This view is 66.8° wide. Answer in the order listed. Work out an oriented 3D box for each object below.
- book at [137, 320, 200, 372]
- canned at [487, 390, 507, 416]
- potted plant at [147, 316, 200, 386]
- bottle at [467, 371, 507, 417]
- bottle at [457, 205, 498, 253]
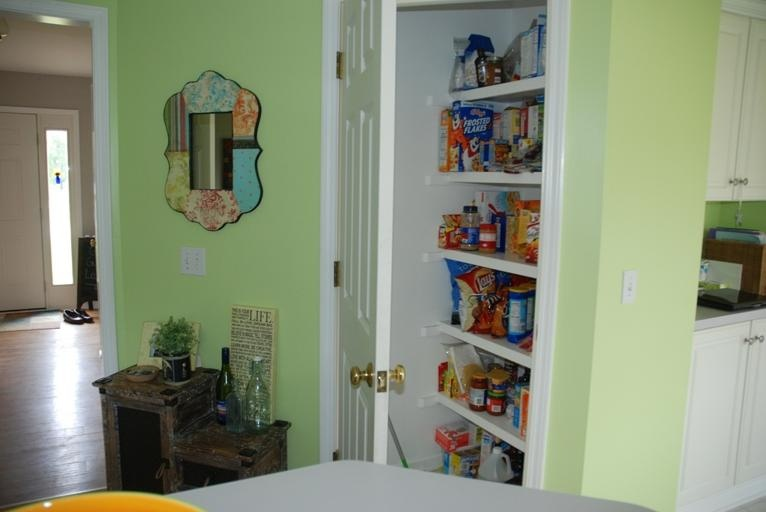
[{"bbox_3d":[-1.231,0.526,3.348,0.298,0.210,0.010,6,-6,-13],"label":"book"},{"bbox_3d":[0.706,0.911,3.600,0.143,0.152,0.143,0,-1,1],"label":"canned"},{"bbox_3d":[-1.198,0.487,3.412,0.341,0.448,0.347,-4,13,-24],"label":"potted plant"},{"bbox_3d":[0.664,0.855,3.670,0.264,0.253,0.207,6,5,38],"label":"bottle"},{"bbox_3d":[0.654,-0.163,3.675,0.187,0.317,0.319,-1,5,-42],"label":"bottle"}]
